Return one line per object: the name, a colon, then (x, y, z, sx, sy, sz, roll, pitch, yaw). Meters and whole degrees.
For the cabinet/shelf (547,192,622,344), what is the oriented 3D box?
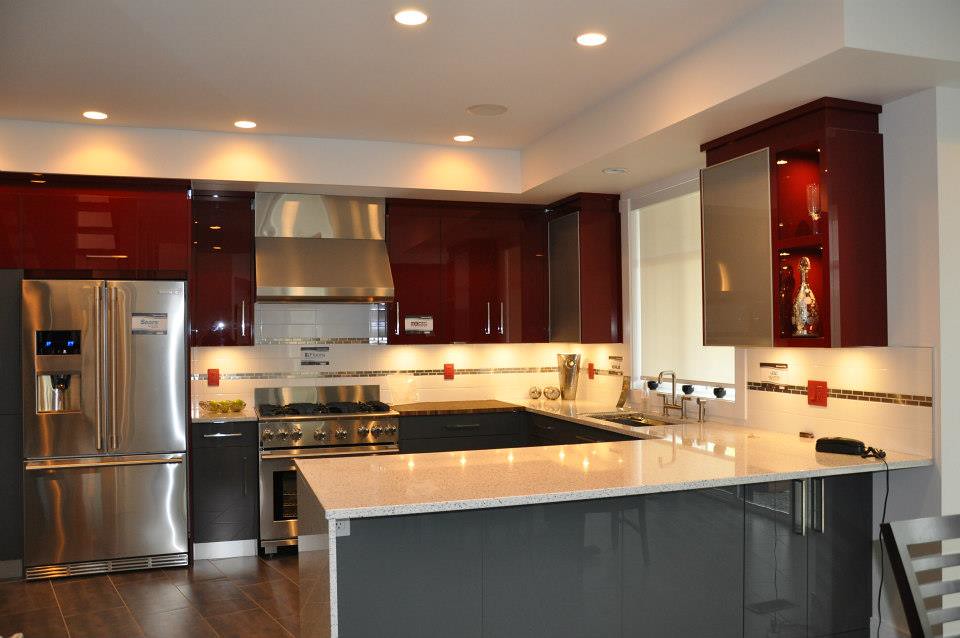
cabinet/shelf: (0.992, -0.402, 7.090, 0.463, 1.353, 0.788, -2, 4, -16)

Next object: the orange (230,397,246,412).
orange: (-2.104, 0.748, 6.488, 0.095, 0.065, 0.093, -2, 3, -30)

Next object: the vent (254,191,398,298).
vent: (-1.405, -0.650, 6.526, 0.932, 0.717, 0.345, 1, -6, -19)

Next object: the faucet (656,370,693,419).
faucet: (1.518, 0.609, 6.006, 0.238, 0.387, 0.339, 1, -1, -38)

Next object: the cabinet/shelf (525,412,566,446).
cabinet/shelf: (0.570, 0.956, 6.521, 0.418, 0.392, 0.289, -1, -3, 15)

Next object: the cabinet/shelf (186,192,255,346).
cabinet/shelf: (-2.264, -0.345, 6.485, 0.232, 1.402, 0.622, 11, 12, 42)

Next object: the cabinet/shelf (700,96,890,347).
cabinet/shelf: (2.075, -0.596, 4.701, 0.934, 1.529, 0.427, 2, 6, 27)

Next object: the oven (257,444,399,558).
oven: (-1.336, 1.588, 6.637, 1.310, 0.859, 0.804, 0, -19, -17)
